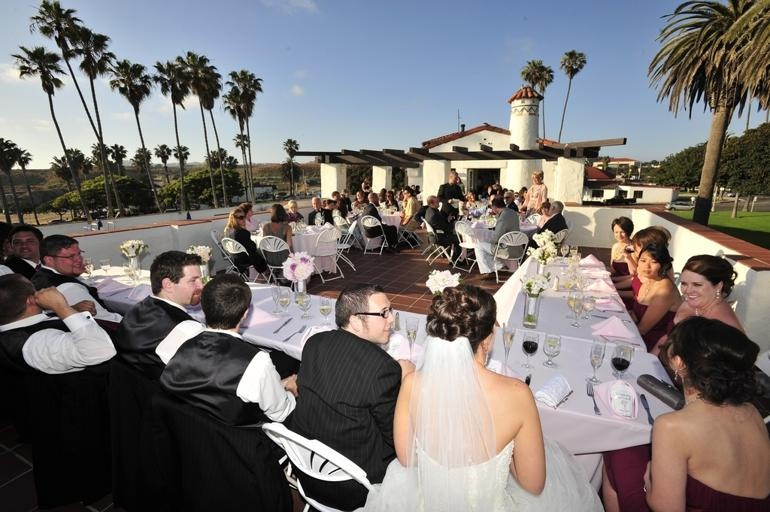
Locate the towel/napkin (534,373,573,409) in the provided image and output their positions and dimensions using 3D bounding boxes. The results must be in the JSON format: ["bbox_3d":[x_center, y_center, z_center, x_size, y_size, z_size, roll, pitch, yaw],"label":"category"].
[{"bbox_3d":[1.376,1.088,3.278,0.247,0.079,0.229,-30,35,-30],"label":"towel/napkin"}]

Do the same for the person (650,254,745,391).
[{"bbox_3d":[3.146,0.612,4.071,0.688,1.171,0.694,-9,14,18],"label":"person"}]

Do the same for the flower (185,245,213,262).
[{"bbox_3d":[-2.478,-0.042,5.434,0.439,0.205,0.447,3,1,3],"label":"flower"}]

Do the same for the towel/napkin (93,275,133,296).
[{"bbox_3d":[-3.413,0.383,5.162,0.346,0.116,0.354,14,17,27],"label":"towel/napkin"}]

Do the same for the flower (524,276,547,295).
[{"bbox_3d":[1.564,0.313,4.226,0.193,0.142,0.195,-8,2,-32],"label":"flower"}]

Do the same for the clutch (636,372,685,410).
[{"bbox_3d":[2.248,1.095,3.307,0.165,0.114,0.299,6,15,-34],"label":"clutch"}]

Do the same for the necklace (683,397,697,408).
[{"bbox_3d":[2.151,1.024,2.854,0.067,0.018,0.074,-39,-3,-2],"label":"necklace"}]
